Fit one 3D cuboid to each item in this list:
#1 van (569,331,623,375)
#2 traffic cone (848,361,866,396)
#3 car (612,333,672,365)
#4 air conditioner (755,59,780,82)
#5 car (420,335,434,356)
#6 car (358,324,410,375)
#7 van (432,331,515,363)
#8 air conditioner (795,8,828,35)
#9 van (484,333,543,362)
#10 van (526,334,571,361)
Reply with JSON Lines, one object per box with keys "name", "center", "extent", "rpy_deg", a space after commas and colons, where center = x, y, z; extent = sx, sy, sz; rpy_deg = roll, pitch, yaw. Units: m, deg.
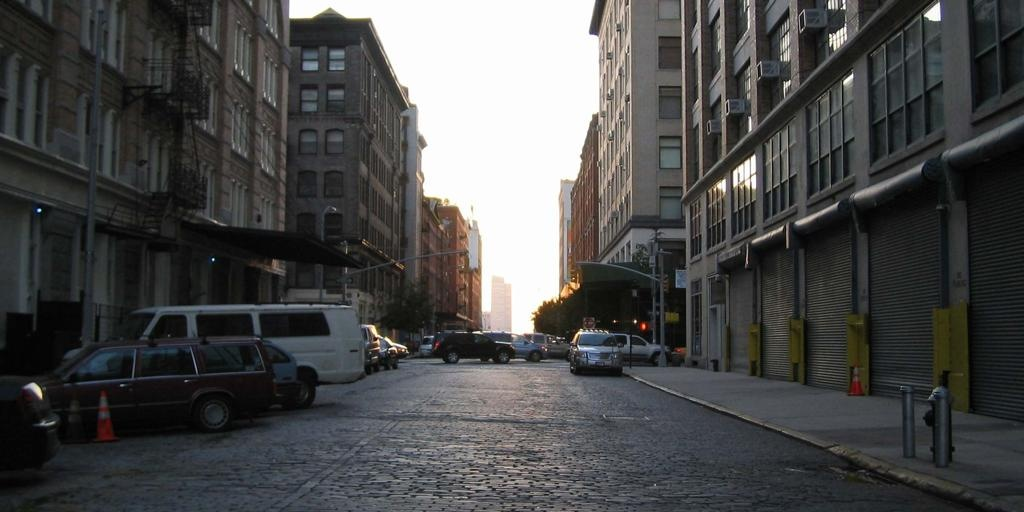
{"name": "van", "center": [4.810, 5.900, 49.792], "extent": [1.938, 1.612, 3.388], "rpy_deg": [1, -12, -2]}
{"name": "traffic cone", "center": [14.886, 5.433, 36.134], "extent": [0.663, 1.348, 0.845], "rpy_deg": [-9, -14, 28]}
{"name": "car", "center": [9.325, 6.772, 59.598], "extent": [4.484, 1.735, 2.006], "rpy_deg": [0, -5, -5]}
{"name": "air conditioner", "center": [14.105, -10.188, 45.943], "extent": [1.063, 0.776, 1.030], "rpy_deg": [0, 3, 5]}
{"name": "car", "center": [-8.209, 8.737, 79.246], "extent": [1.576, 1.339, 2.665], "rpy_deg": [0, 0, 3]}
{"name": "car", "center": [-8.239, 5.684, 49.434], "extent": [2.578, 1.715, 5.406], "rpy_deg": [0, -1, 7]}
{"name": "van", "center": [-2.779, 6.856, 61.693], "extent": [5.219, 2.008, 2.387], "rpy_deg": [-1, -4, -2]}
{"name": "air conditioner", "center": [14.890, -11.565, 41.067], "extent": [1.090, 1.098, 0.818], "rpy_deg": [10, 15, 32]}
{"name": "van", "center": [0.150, 7.167, 65.138], "extent": [4.583, 1.827, 2.124], "rpy_deg": [1, -4, -9]}
{"name": "van", "center": [3.290, 7.978, 71.714], "extent": [4.014, 1.897, 2.202], "rpy_deg": [-1, -3, -4]}
